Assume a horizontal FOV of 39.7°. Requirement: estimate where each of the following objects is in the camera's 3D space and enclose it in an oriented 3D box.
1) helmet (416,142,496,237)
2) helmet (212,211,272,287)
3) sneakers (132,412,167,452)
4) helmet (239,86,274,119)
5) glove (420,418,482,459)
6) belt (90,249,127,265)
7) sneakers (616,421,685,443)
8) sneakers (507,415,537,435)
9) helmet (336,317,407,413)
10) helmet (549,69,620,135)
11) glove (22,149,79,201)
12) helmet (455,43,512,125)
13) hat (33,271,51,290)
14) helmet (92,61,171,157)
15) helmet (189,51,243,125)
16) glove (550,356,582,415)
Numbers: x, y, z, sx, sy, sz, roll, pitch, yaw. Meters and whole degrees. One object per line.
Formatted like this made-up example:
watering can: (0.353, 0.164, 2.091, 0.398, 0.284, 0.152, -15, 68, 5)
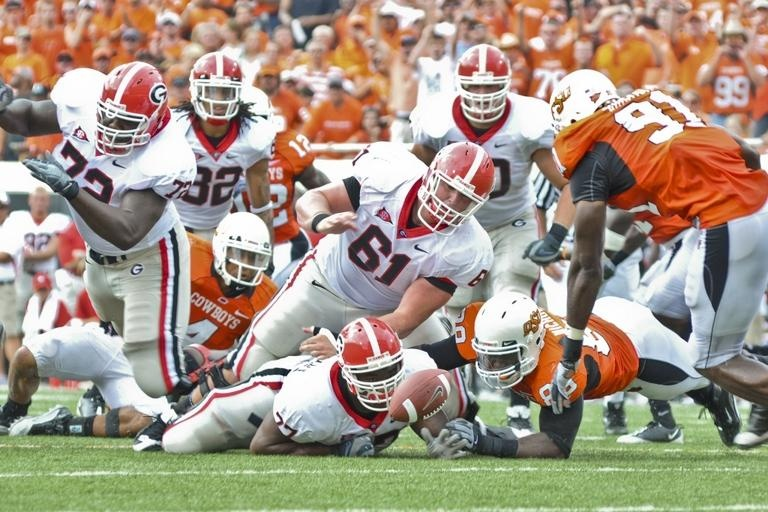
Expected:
helmet: (0.512, -0.487, 7.163, 0.426, 0.538, 0.597, 35, 20, -1)
helmet: (-1.032, -0.041, 7.714, 0.371, 0.524, 0.511, 6, 7, -22)
sneakers: (-1.524, 1.168, 6.946, 0.216, 0.198, 0.229, 0, 4, -25)
helmet: (-1.022, -1.233, 8.581, 0.249, 0.279, 0.370, 2, 4, -7)
glove: (0.407, 1.186, 6.744, 0.235, 0.260, 0.124, -12, -2, 36)
belt: (-1.925, 0.026, 7.391, 0.170, 0.101, 0.138, -14, 14, 9)
sneakers: (1.977, 1.288, 7.899, 0.540, 0.219, 0.192, 4, -7, 1)
sneakers: (1.029, 1.275, 8.057, 0.093, 0.127, 0.260, -18, 25, -33)
helmet: (-0.145, 0.622, 6.673, 0.373, 0.457, 0.532, -11, 43, -19)
helmet: (1.381, -1.054, 7.247, 0.491, 0.424, 0.413, 5, 4, 34)
glove: (-2.130, -0.469, 6.750, 0.333, 0.143, 0.235, 32, 40, -12)
helmet: (0.726, -1.301, 8.021, 0.379, 0.494, 0.556, 1, 34, 4)
hat: (-3.642, 0.272, 11.336, 0.201, 0.183, 0.429, 1, 4, -18)
helmet: (-1.634, -0.974, 7.176, 0.438, 0.500, 0.622, 25, 46, 16)
helmet: (-1.262, -1.285, 8.225, 0.372, 0.493, 0.531, 0, 18, -8)
glove: (1.119, 0.835, 6.715, 0.088, 0.280, 0.203, 8, 36, -23)
